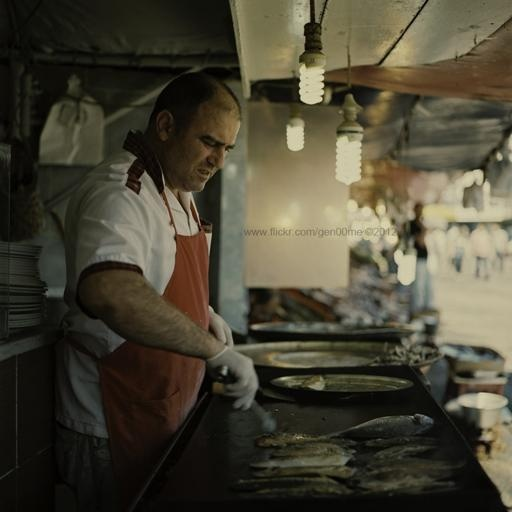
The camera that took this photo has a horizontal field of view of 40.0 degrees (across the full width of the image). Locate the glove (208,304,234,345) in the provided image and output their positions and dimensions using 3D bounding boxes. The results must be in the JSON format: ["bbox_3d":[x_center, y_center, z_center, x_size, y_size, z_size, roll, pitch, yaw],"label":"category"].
[{"bbox_3d":[-0.140,0.282,2.775,0.043,0.146,0.110,-29,-8,7],"label":"glove"}]

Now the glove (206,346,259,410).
[{"bbox_3d":[-0.089,0.399,2.309,0.129,0.234,0.197,3,9,36],"label":"glove"}]

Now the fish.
[{"bbox_3d":[0.255,0.567,2.008,0.635,0.032,0.450,-2,8,-1],"label":"fish"}]

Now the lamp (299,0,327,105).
[{"bbox_3d":[0.217,-0.755,2.747,0.093,0.295,0.201,-1,7,4],"label":"lamp"}]

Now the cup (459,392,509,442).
[{"bbox_3d":[1.236,0.853,3.814,0.243,0.171,0.250,-3,0,0],"label":"cup"}]

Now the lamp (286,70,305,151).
[{"bbox_3d":[0.203,-0.760,3.724,0.104,0.405,0.317,-1,7,4],"label":"lamp"}]

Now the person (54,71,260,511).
[{"bbox_3d":[-0.347,0.129,2.355,0.673,1.476,0.650,-4,8,-19],"label":"person"}]
